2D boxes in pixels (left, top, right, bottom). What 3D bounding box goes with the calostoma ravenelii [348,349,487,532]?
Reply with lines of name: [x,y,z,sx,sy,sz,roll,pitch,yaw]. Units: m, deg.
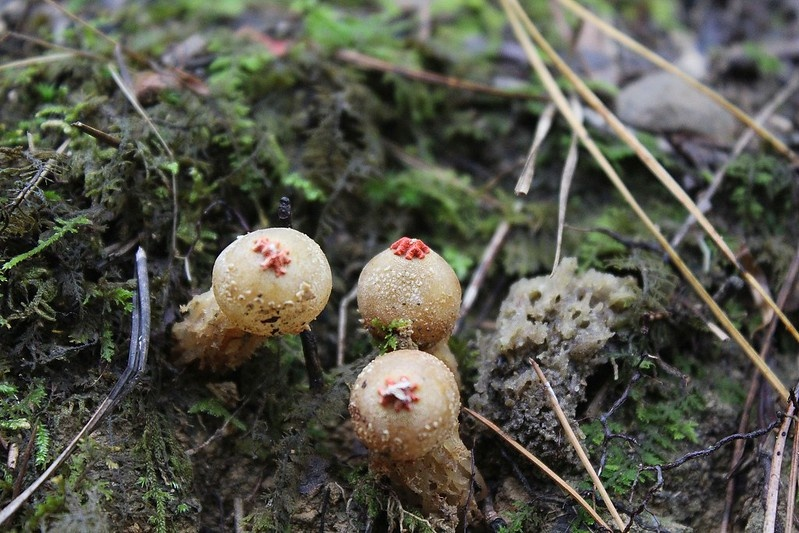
calostoma ravenelii: [0.063,0.691,2.884,0.307,0.683,0.307,-29,46,-4]
